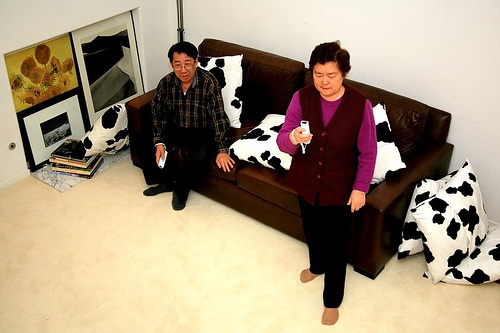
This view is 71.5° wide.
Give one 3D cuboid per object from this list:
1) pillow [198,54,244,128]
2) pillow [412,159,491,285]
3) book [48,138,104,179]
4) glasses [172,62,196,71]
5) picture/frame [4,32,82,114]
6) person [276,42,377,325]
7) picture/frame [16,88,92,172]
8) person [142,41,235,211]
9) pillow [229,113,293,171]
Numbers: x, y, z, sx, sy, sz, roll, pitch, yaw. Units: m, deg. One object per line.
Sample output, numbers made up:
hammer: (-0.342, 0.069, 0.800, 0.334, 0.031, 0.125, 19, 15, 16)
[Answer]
pillow: (-0.212, -0.777, 3.624, 0.637, 0.632, 0.188, -6, 10, 3)
pillow: (1.624, 0.428, 2.795, 0.778, 0.701, 0.307, -34, 23, -22)
book: (-1.826, -0.052, 3.643, 0.406, 0.141, 0.428, 8, 33, 18)
glasses: (-0.564, -0.869, 3.001, 0.204, 0.092, 0.098, -5, 32, -18)
picture/frame: (-2.084, -0.953, 3.446, 0.013, 0.555, 0.796, 22, 37, 32)
person: (0.463, 0.171, 2.279, 0.689, 1.827, 0.408, 19, 33, 22)
picture/frame: (-2.078, -0.370, 3.611, 0.034, 0.615, 0.752, 21, 41, 32)
person: (-0.629, -0.342, 3.208, 0.786, 1.378, 0.930, -8, 37, -17)
pillow: (0.078, -0.279, 3.043, 0.509, 0.475, 0.164, -18, 27, 11)
